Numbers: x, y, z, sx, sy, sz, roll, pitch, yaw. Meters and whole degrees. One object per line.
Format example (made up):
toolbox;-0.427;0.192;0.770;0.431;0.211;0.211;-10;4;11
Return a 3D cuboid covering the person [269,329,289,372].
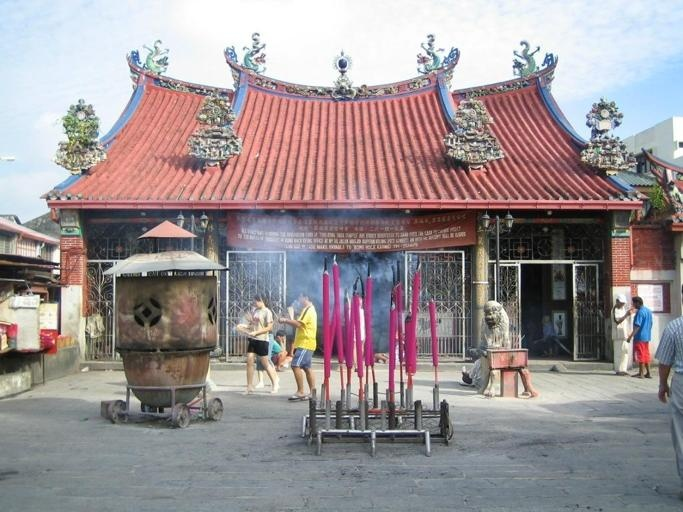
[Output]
person;-1.363;2.039;19.273;0.458;0.819;0.595;5;3;10

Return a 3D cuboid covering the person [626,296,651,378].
person;6.586;1.799;19.649;0.501;1.810;0.739;-2;-5;13

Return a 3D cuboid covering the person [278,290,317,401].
person;-0.762;1.716;16.569;0.592;1.973;1.337;-1;-5;-4

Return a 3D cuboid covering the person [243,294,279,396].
person;-1.585;1.741;17.461;0.631;1.910;0.850;-1;-5;-5

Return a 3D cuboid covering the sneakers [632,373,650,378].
sneakers;6.711;2.698;19.934;0.320;0.143;0.112;1;0;23

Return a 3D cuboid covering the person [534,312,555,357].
person;5.359;2.085;23.420;0.493;1.102;1.221;-2;-5;10
